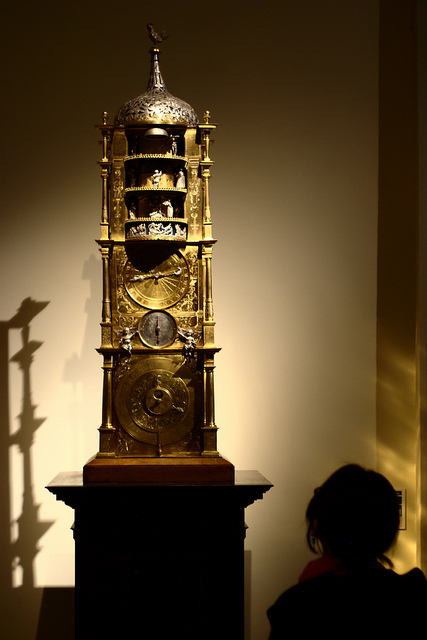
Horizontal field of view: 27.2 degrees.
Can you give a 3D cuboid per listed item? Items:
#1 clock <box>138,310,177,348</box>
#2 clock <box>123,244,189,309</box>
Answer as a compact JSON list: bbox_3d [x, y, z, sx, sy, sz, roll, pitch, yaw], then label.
[{"bbox_3d":[-0.233,0.038,3.864,0.165,0.158,0.032,-1,2,-10],"label":"clock"},{"bbox_3d":[-0.256,-0.191,3.890,0.272,0.281,0.029,1,-5,-4],"label":"clock"}]
